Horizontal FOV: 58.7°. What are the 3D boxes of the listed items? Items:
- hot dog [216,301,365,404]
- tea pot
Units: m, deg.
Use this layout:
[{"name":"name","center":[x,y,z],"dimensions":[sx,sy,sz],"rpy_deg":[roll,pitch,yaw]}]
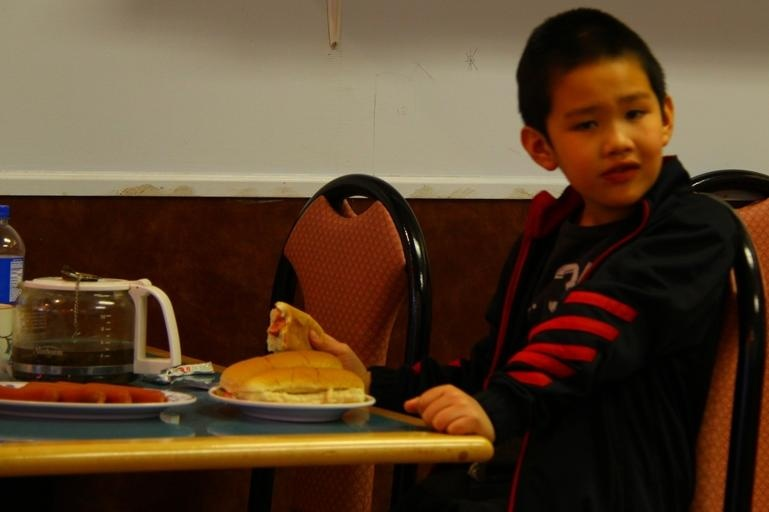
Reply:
[{"name":"hot dog","center":[-0.137,0.175,1.194],"dimensions":[0.202,0.118,0.197],"rpy_deg":[1,-6,10]},{"name":"tea pot","center":[-0.523,0.129,1.259],"dimensions":[0.260,0.164,0.194],"rpy_deg":[3,-2,-13]}]
